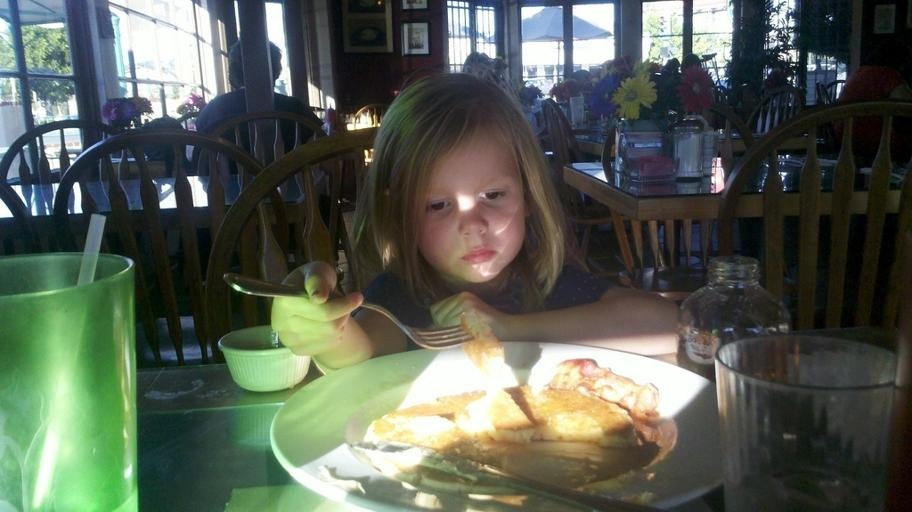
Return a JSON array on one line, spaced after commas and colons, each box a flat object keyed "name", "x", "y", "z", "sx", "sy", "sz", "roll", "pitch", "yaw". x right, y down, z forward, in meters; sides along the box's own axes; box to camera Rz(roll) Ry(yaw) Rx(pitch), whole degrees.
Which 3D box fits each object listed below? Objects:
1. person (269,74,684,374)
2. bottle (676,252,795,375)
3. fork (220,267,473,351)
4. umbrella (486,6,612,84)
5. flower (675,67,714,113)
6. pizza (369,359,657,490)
[{"name": "person", "x": 0.031, "y": -0.054, "z": 1.437, "sx": 0.921, "sy": 0.541, "sz": 0.651, "roll": -6, "pitch": 16, "yaw": -10}, {"name": "bottle", "x": 0.460, "y": 0.067, "z": 1.178, "sx": 0.218, "sy": 0.239, "sz": 0.225, "roll": 4, "pitch": 11, "yaw": 41}, {"name": "fork", "x": -0.199, "y": 0.108, "z": 1.323, "sx": 0.521, "sy": 0.073, "sz": 0.068, "roll": 13, "pitch": 25, "yaw": -19}, {"name": "umbrella", "x": 1.682, "y": -3.588, "z": 10.978, "sx": 1.956, "sy": 1.381, "sz": 0.485, "roll": 1, "pitch": 11, "yaw": 18}, {"name": "flower", "x": 0.916, "y": -0.624, "z": 2.493, "sx": 0.173, "sy": 0.164, "sz": 0.045, "roll": -10, "pitch": 7, "yaw": -9}, {"name": "pizza", "x": 0.123, "y": 0.260, "z": 1.006, "sx": 0.263, "sy": 0.058, "sz": 0.200, "roll": 0, "pitch": 17, "yaw": 6}]
